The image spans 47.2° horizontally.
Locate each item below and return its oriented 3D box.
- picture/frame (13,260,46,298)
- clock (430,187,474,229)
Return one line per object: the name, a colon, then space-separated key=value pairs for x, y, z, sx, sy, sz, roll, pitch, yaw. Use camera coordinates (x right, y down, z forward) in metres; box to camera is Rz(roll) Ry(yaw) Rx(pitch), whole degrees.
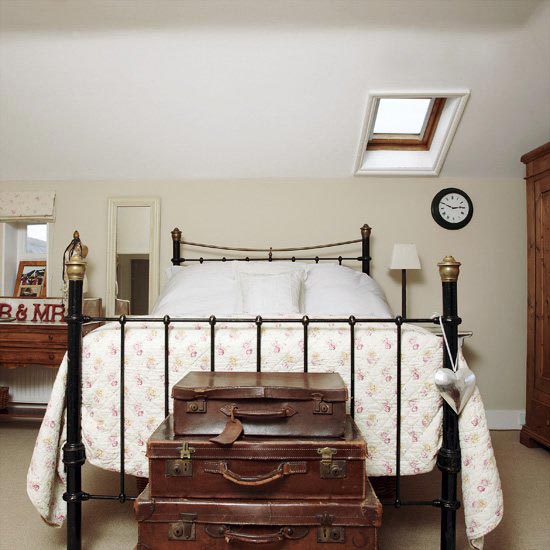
picture/frame: x=-1.668 y=0.033 z=4.290 sx=0.278 sy=0.336 sz=0.014 roll=2 pitch=-7 yaw=5
clock: x=1.170 y=-0.444 z=4.145 sx=0.056 sy=0.246 sz=0.262 roll=-14 pitch=34 yaw=-42
